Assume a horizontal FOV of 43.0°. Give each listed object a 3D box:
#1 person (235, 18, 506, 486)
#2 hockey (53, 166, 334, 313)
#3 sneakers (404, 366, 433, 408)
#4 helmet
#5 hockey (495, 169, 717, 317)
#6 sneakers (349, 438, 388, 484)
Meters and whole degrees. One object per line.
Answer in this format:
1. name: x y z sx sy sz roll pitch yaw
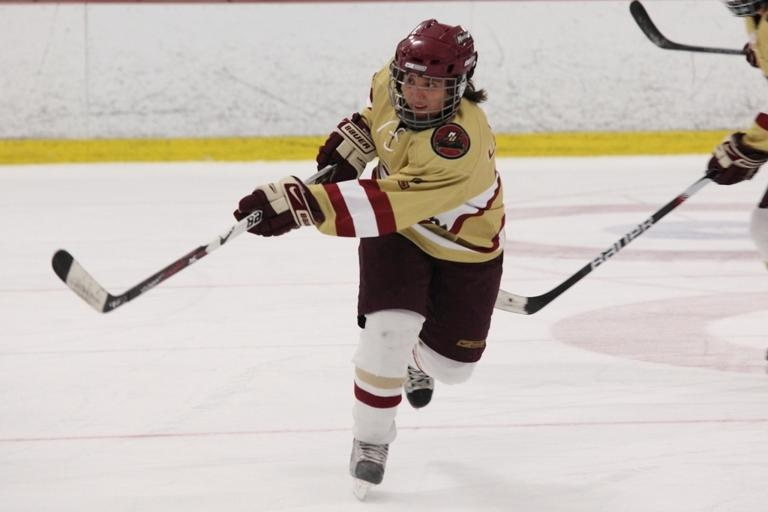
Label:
1. person: 0.023 -0.049 4.007 0.944 1.548 1.247 9 39 5
2. hockey: -0.652 -0.028 4.015 1.306 0.295 0.318 -19 17 -11
3. sneakers: 0.155 0.580 4.282 0.091 0.209 0.094 3 -2 -7
4. helmet: 0.188 -0.723 3.954 0.336 0.363 0.388 8 38 5
5. hockey: 1.227 -0.044 5.367 1.567 0.243 0.166 -29 15 -13
6. sneakers: -0.066 0.847 3.960 0.144 0.138 0.172 7 38 3
